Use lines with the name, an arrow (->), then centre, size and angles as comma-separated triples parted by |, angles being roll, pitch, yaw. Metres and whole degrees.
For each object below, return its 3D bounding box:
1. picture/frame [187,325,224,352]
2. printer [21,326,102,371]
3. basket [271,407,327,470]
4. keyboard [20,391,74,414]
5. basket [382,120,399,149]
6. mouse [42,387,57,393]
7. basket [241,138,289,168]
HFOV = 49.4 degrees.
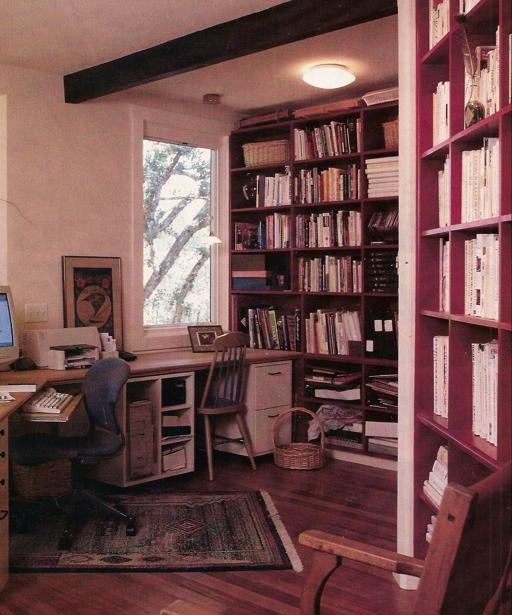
picture/frame -> -0.382, 0.229, 4.081 | 0.225, 0.164, 0.016 | -3, -30, -39
printer -> -1.089, 0.201, 3.137 | 0.254, 0.175, 0.332 | 0, 1, 42
basket -> 0.317, 0.876, 3.844 | 0.437, 0.396, 0.374 | 0, -3, 18
keyboard -> -0.914, 0.415, 2.485 | 0.165, 0.043, 0.369 | 0, 1, -9
basket -> 0.900, -1.170, 3.741 | 0.083, 0.242, 0.155 | 1, 1, 5
mouse -> -0.988, 0.389, 2.668 | 0.049, 0.021, 0.060 | 2, 1, 1
basket -> 0.071, -1.205, 4.311 | 0.319, 0.131, 0.234 | 3, 6, 30
